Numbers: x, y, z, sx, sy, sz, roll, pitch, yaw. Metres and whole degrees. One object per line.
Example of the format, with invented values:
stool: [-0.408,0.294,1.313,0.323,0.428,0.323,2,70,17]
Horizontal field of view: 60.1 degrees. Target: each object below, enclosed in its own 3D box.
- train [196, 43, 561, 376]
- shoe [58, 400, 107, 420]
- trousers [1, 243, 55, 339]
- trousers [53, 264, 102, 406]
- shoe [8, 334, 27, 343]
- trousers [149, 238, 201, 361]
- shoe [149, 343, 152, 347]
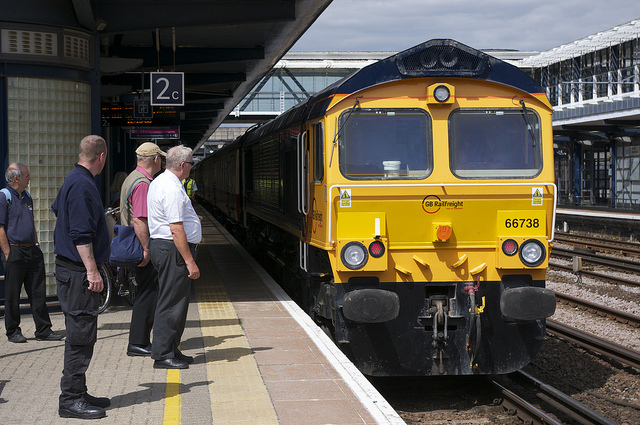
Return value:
train: [0.349,-0.218,10.205,2.781,4.744,7.835,-2,6,-24]
shoe: [-2.274,1.875,5.335,0.421,0.202,0.174,0,0,-1]
trousers: [-3.996,1.055,7.549,0.588,1.296,0.458,-2,6,-28]
trousers: [-2.367,1.184,5.409,0.384,1.329,0.363,-2,6,-23]
shoe: [-4.098,1.693,7.438,0.329,0.113,0.111,3,6,17]
trousers: [-1.760,1.020,6.472,0.466,1.445,0.370,-1,6,-12]
shoe: [-2.144,1.676,7.003,0.056,0.043,0.061,-1,1,-5]
